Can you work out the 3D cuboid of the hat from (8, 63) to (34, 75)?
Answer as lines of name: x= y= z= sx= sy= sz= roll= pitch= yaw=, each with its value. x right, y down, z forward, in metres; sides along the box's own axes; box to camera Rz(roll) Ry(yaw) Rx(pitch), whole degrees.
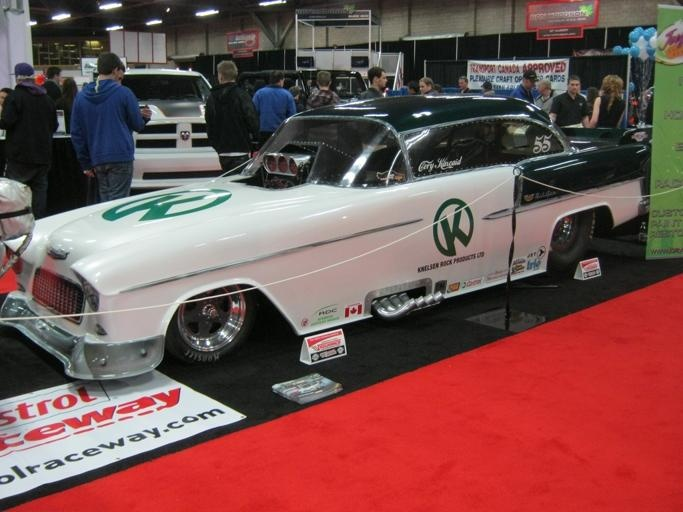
hat: x=-4.280 y=-2.471 z=6.580 sx=0.214 sy=0.167 sz=0.326 roll=-10 pitch=34 yaw=-25

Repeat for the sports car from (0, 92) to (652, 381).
sports car: x=0.260 y=-0.181 z=4.268 sx=4.968 sy=1.363 sz=2.162 roll=-11 pitch=18 yaw=-33

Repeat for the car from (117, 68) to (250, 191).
car: x=-2.472 y=-1.979 z=7.405 sx=1.390 sy=1.265 sz=2.638 roll=-5 pitch=13 yaw=-25
